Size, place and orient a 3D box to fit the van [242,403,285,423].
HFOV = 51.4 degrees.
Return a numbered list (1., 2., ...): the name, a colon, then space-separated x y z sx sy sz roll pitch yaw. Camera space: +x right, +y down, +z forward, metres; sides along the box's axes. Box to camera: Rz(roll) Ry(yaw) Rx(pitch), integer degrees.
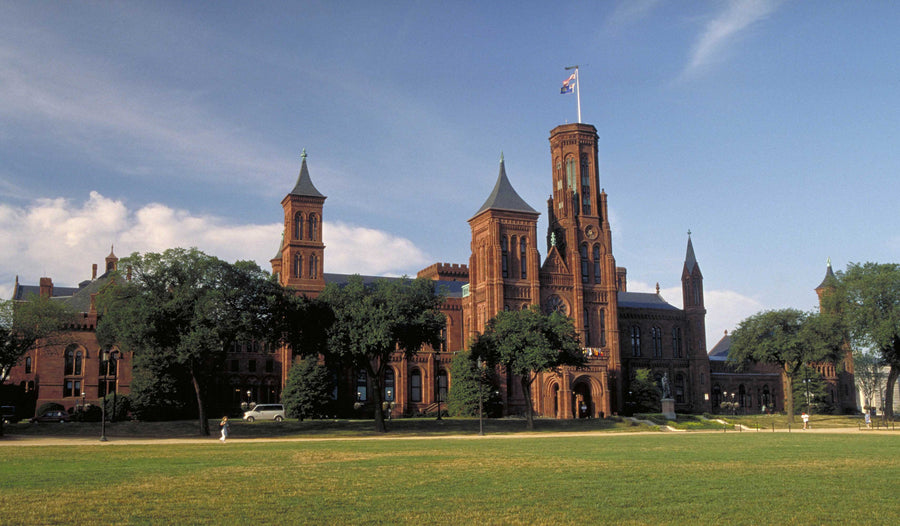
1. van: -21.059 16.885 105.967 4.011 1.612 2.315 3 -13 -7
